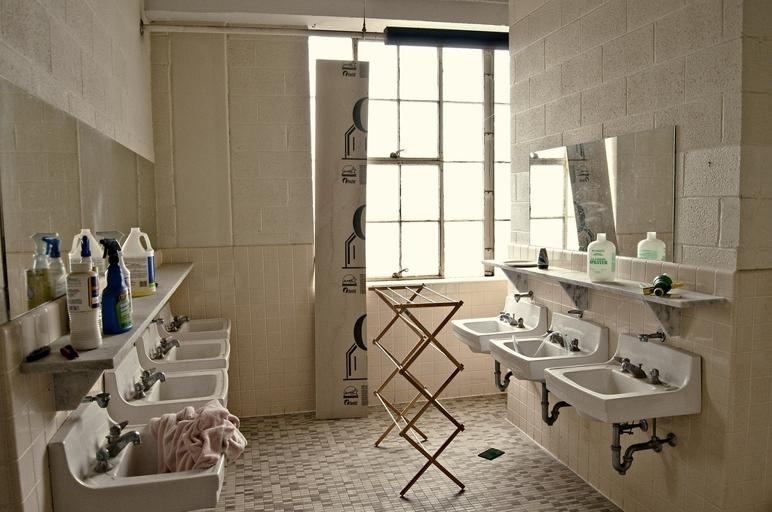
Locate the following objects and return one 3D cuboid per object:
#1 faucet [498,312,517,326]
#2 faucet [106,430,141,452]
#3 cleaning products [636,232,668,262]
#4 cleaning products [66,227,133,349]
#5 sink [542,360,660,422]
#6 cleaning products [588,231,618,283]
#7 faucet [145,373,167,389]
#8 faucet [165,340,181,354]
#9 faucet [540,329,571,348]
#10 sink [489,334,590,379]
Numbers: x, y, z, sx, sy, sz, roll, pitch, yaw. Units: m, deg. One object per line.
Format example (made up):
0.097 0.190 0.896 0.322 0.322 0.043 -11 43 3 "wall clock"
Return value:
0.979 0.501 4.879 0.076 0.037 0.108 9 8 -9 "faucet"
-1.291 0.909 3.005 0.144 0.098 0.097 -7 15 -25 "faucet"
1.624 -0.058 3.717 0.087 0.248 0.175 2 -1 -32 "cleaning products"
-1.369 0.131 2.911 0.273 0.467 0.549 -7 15 -23 "cleaning products"
1.247 0.731 3.657 0.350 0.196 0.497 -1 1 -12 "sink"
1.371 0.009 3.893 0.156 0.272 0.167 2 14 14 "cleaning products"
-1.354 0.729 3.585 0.095 0.029 0.093 -3 7 -23 "faucet"
-1.460 0.622 4.209 0.055 0.082 0.155 -3 13 -9 "faucet"
1.220 0.593 4.357 0.067 0.081 0.222 0 -2 -16 "faucet"
1.041 0.679 4.146 0.393 0.252 0.444 -1 2 -11 "sink"
